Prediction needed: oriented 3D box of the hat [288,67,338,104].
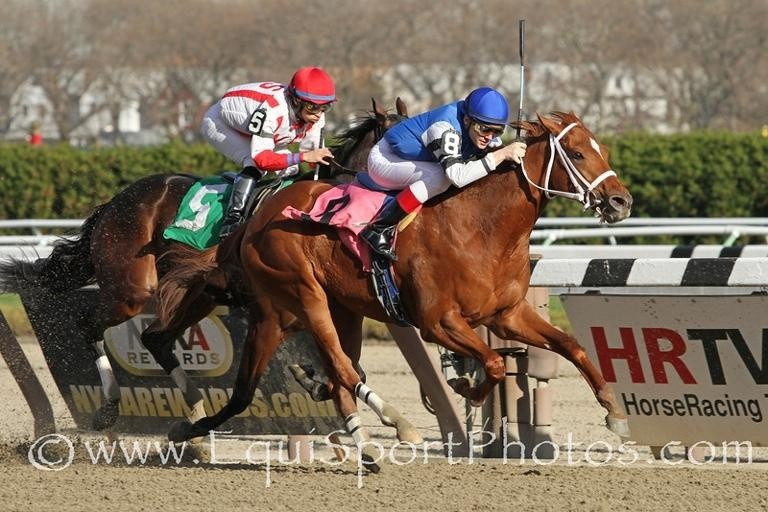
[{"bbox_3d":[-0.550,-1.341,12.483,0.401,0.219,0.487,-4,22,-28],"label":"hat"}]
